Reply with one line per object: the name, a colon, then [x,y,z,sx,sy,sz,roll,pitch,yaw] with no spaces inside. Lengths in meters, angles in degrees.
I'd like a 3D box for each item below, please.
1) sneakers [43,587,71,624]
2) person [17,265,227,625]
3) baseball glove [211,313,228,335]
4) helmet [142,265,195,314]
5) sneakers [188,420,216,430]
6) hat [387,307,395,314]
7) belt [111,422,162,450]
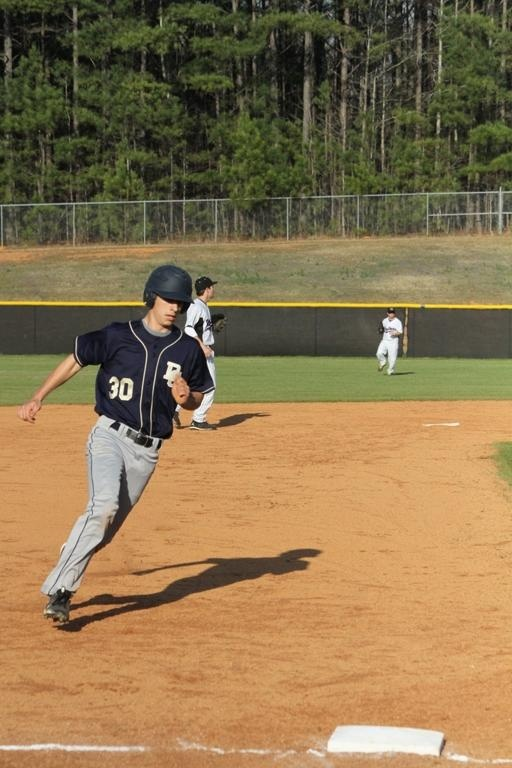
sneakers: [-0.955,1.078,5.358,0.099,0.157,0.137,2,5,5]
person: [-0.668,0.314,5.500,0.915,1.794,0.502,0,5,-12]
baseball glove: [-0.419,-0.686,12.574,0.188,0.105,0.275,35,-8,-15]
helmet: [-0.439,-0.471,5.493,0.238,0.221,0.273,1,6,-5]
sneakers: [-0.587,0.469,12.192,0.267,0.123,0.111,-1,12,-12]
hat: [2.483,-1.342,20.522,0.126,0.118,0.230,-1,-4,4]
belt: [-0.590,0.220,5.459,0.150,0.049,0.154,24,-8,36]
